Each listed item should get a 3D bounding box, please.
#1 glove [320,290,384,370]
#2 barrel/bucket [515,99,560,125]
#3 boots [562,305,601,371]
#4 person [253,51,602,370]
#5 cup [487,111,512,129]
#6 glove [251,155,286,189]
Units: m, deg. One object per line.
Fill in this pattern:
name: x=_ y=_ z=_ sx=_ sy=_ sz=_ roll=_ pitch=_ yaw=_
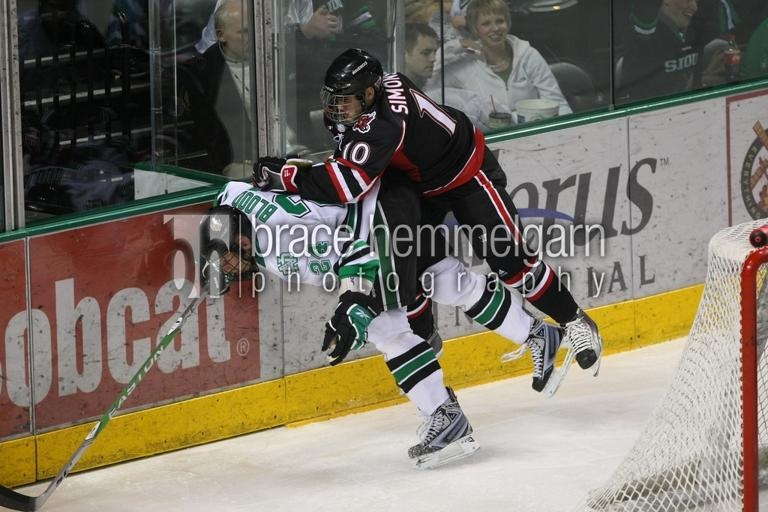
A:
glove: x=-0.146 y=0.320 z=5.093 sx=0.222 sy=0.361 sz=0.133 roll=27 pitch=-16 yaw=31
barrel/bucket: x=0.880 y=-0.847 z=6.383 sx=0.161 sy=0.126 sz=0.178 roll=-1 pitch=10 yaw=-4
boots: x=1.023 y=0.403 z=5.760 sx=0.158 sy=0.125 sz=0.369 roll=31 pitch=32 yaw=-23
person: x=0.152 y=-0.225 z=5.610 sx=1.431 sy=1.826 sz=0.809 roll=-37 pitch=29 yaw=-18
cup: x=0.663 y=-0.782 z=6.260 sx=0.101 sy=0.068 sz=0.100 roll=0 pitch=18 yaw=0
glove: x=-0.546 y=-0.393 z=5.166 sx=0.132 sy=0.141 sz=0.158 roll=0 pitch=13 yaw=-44
